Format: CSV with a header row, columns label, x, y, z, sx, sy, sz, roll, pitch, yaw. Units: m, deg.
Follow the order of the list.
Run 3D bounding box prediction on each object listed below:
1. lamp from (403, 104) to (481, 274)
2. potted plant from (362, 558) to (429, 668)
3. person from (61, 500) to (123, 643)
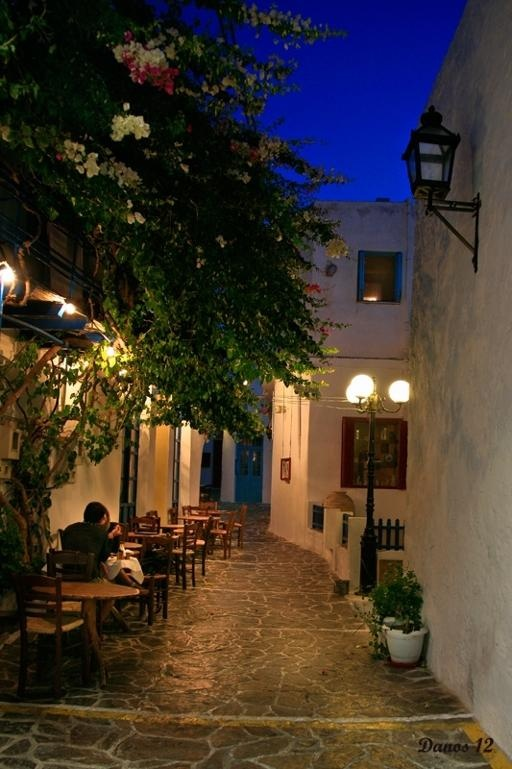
label,x,y,z,sx,sy,sz,roll,pitch,yaw
lamp,1.506,-1.625,4.865,0.603,1.376,0.392,4,-6,2
potted plant,1.585,2.562,6.397,0.626,0.924,0.587,-1,-10,-11
person,-1.742,2.020,6.602,0.636,1.278,0.565,5,-9,-30
